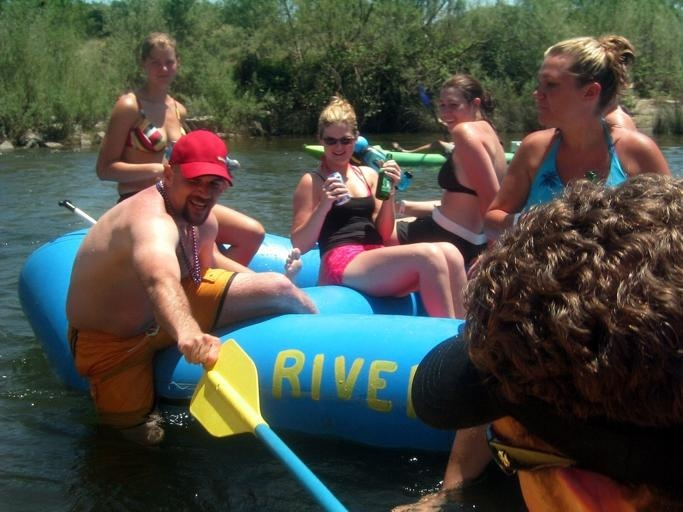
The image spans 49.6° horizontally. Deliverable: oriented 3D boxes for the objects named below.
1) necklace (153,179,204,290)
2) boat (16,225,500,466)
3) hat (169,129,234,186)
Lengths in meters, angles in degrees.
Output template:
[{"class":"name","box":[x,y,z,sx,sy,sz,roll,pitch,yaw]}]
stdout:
[{"class":"necklace","box":[-0.774,-0.094,3.656,0.078,0.567,0.196,5,27,39]},{"class":"boat","box":[-0.428,0.467,4.067,2.512,0.551,1.505,12,0,-21]},{"class":"hat","box":[-0.672,-0.496,3.604,0.312,0.224,0.418,3,25,-27]}]
